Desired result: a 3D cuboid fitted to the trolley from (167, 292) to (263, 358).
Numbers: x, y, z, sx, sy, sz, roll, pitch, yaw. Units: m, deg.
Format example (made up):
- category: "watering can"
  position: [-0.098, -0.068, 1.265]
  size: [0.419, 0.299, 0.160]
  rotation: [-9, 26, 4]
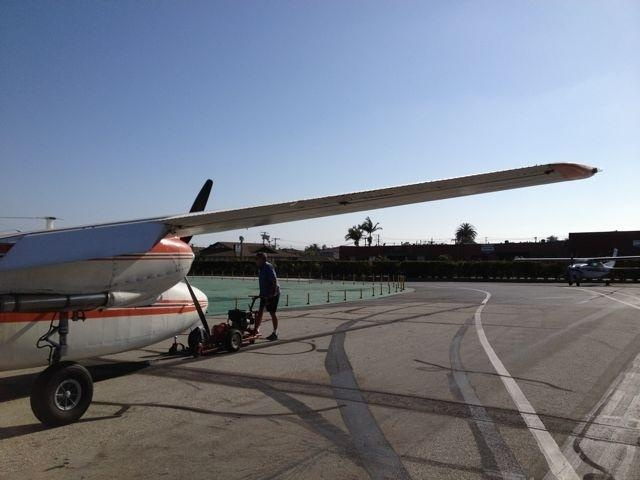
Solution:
- category: "trolley"
  position: [-2.306, 1.992, 9.980]
  size: [2.439, 0.834, 1.146]
  rotation: [-4, 3, -36]
